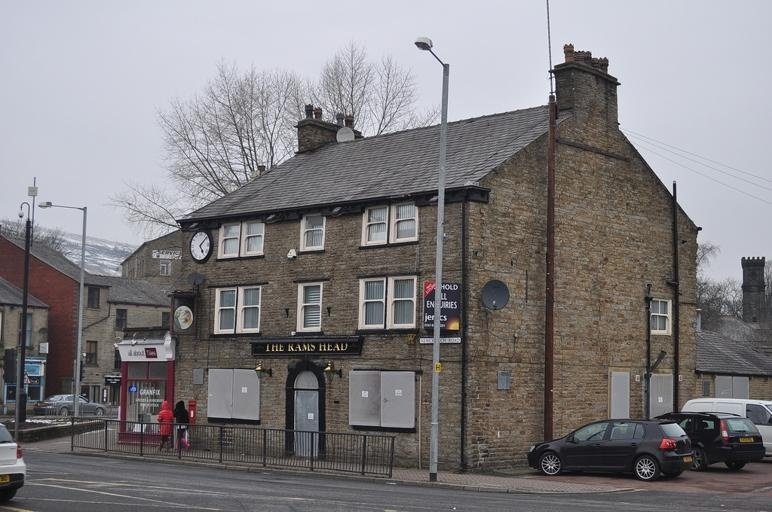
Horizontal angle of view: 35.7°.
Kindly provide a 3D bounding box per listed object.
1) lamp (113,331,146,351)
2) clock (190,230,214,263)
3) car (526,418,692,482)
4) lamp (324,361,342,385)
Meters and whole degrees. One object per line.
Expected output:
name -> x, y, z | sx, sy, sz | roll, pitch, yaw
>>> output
lamp -> -12.974, 4.267, 61.313 | 0.743, 1.059, 2.234 | 9, -15, -40
clock -> -8.985, -0.425, 59.012 | 1.344, 1.401, 0.193 | -15, -13, 40
car -> 9.431, 8.193, 50.508 | 6.936, 2.374, 3.249 | -6, -12, 40
lamp -> -2.406, 5.305, 54.545 | 0.908, 0.955, 0.248 | -7, -12, 28
